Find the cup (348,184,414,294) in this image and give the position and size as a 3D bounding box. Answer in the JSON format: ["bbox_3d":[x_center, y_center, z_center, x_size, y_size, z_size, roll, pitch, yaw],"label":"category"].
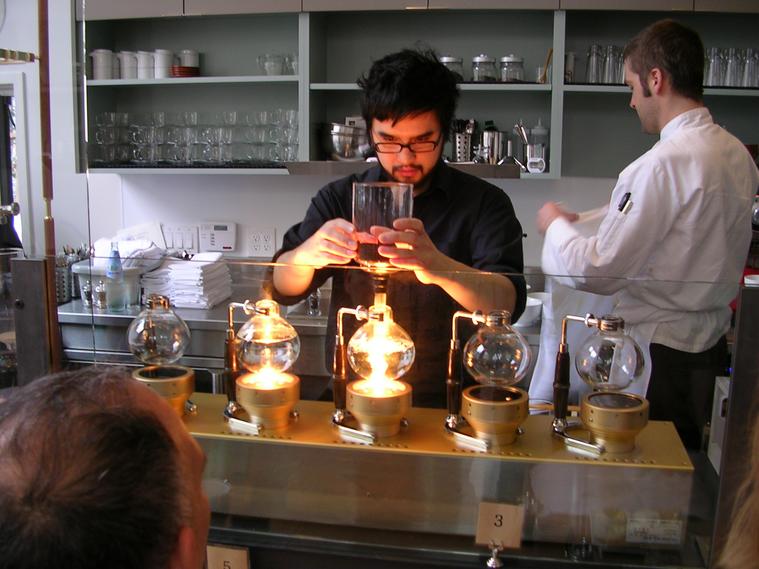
[{"bbox_3d":[0.007,-0.074,1.137,0.113,0.196,0.111,2,11,0],"label":"cup"}]
